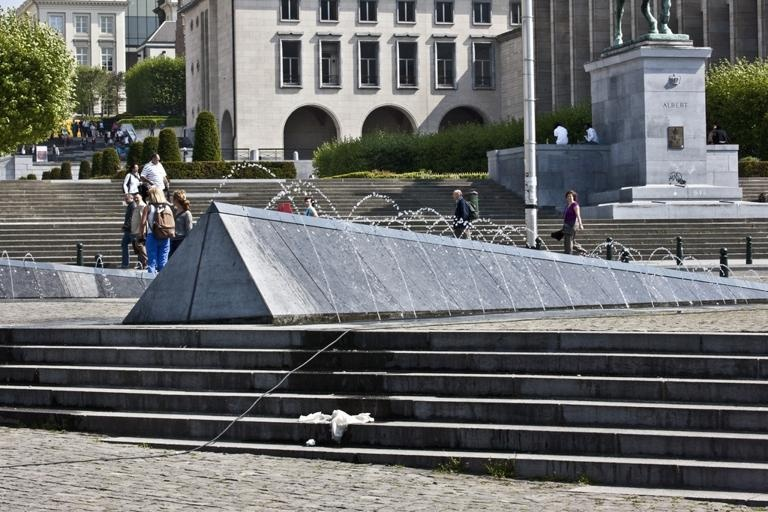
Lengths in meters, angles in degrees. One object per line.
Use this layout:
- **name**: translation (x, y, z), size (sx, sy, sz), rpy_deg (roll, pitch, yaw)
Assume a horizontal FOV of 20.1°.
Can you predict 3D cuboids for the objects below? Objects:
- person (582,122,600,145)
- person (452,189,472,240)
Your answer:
- **person**: translation (9.194, -5.385, 95.500), size (0.911, 1.191, 1.003), rpy_deg (1, 4, 35)
- **person**: translation (3.096, -1.587, 83.912), size (0.719, 1.811, 0.995), rpy_deg (-3, 4, -15)
